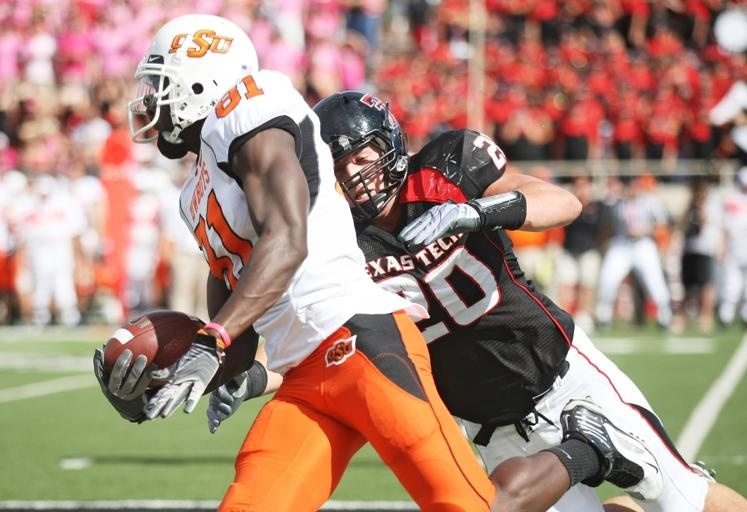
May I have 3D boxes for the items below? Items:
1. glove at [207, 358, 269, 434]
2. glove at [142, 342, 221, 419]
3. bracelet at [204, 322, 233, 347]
[{"bbox_3d":[-0.742,0.730,5.210,0.372,0.292,0.155,-31,34,-22],"label":"glove"},{"bbox_3d":[-0.908,0.593,4.608,0.283,0.392,0.141,32,-6,43],"label":"glove"},{"bbox_3d":[-0.739,0.373,4.610,0.104,0.121,0.114,-20,-31,10],"label":"bracelet"}]
